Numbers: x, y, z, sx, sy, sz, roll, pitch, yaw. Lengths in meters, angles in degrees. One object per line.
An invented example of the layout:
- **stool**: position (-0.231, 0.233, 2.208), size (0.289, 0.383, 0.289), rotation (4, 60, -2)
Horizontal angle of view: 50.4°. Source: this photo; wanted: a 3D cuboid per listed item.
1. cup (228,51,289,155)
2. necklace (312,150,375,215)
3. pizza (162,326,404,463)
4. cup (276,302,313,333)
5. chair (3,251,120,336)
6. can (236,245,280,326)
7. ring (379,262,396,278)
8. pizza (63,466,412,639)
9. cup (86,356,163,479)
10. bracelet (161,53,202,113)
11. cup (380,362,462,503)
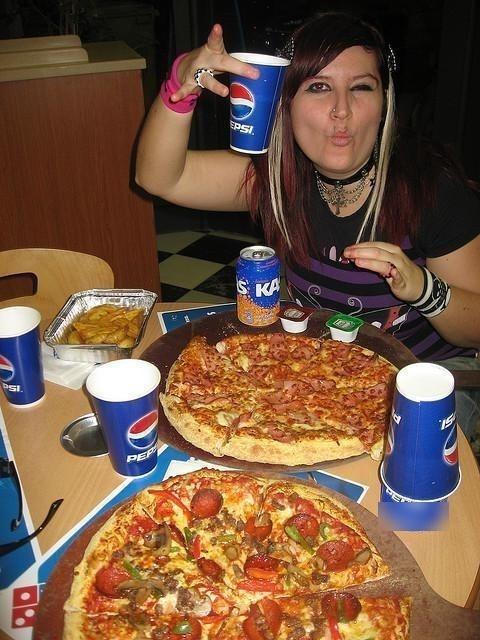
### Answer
- **cup**: position (0.037, -0.610, 1.443), size (0.181, 0.244, 0.177), rotation (5, 36, -3)
- **necklace**: position (0.382, -0.507, 1.934), size (0.175, 0.149, 0.221), rotation (2, 51, 18)
- **pizza**: position (0.114, 0.206, 1.372), size (0.409, 0.070, 0.377), rotation (12, 26, 19)
- **cup**: position (0.179, -0.023, 1.658), size (0.090, 0.054, 0.092), rotation (-2, 50, 3)
- **chair**: position (-0.652, -0.105, 1.869), size (0.267, 0.323, 0.227), rotation (-24, 56, -25)
- **can**: position (0.058, -0.102, 1.661), size (0.133, 0.230, 0.135), rotation (0, 21, 0)
- **ring**: position (0.423, -0.140, 1.468), size (0.038, 0.039, 0.040), rotation (25, 1, 0)
- **pizza**: position (-0.003, 0.401, 0.902), size (0.534, 0.089, 0.360), rotation (1, 29, 1)
- **cup**: position (-0.246, 0.215, 1.082), size (0.141, 0.192, 0.137), rotation (1, 39, -1)
- **bracelet**: position (-0.193, -0.751, 1.681), size (0.132, 0.193, 0.130), rotation (2, -14, -11)
- **cup**: position (0.316, 0.213, 0.907), size (0.146, 0.228, 0.144), rotation (-4, 20, 1)
